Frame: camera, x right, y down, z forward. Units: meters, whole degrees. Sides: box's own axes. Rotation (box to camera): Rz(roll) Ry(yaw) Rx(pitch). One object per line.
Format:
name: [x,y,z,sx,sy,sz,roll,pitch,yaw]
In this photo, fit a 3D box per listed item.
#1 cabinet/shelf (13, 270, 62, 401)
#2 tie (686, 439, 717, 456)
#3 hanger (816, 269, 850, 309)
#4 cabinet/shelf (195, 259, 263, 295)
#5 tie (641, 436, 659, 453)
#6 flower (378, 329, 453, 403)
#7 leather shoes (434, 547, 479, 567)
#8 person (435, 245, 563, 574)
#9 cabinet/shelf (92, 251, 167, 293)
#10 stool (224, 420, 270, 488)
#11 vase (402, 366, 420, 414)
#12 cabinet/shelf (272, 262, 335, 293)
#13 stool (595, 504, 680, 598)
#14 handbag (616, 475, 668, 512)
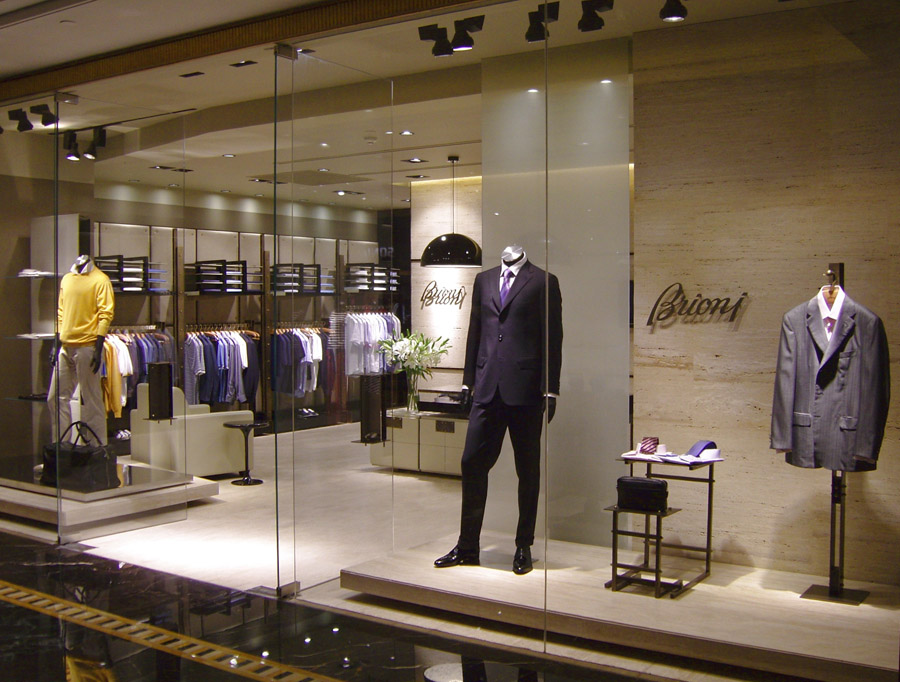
cabinet/shelf: [-3.128,-0.034,6.137,0.447,1.034,0.132,3,2,35]
tie: [1.514,0.640,4.836,0.153,0.076,0.090,-1,2,-21]
hanger: [2.148,-0.301,4.533,0.134,0.246,0.061,2,2,23]
cabinet/shelf: [-2.964,-0.828,10.471,0.731,0.439,0.287,1,2,-19]
tie: [1.175,0.627,4.774,0.096,0.100,0.107,-13,7,31]
flower: [-0.224,0.143,5.110,0.413,0.485,0.490,2,3,40]
leather shoes: [0.035,1.234,4.569,0.277,0.116,0.100,1,-1,25]
person: [0.294,0.394,4.380,0.606,1.807,0.209,3,2,44]
cabinet/shelf: [-2.459,-0.528,6.272,0.326,0.210,0.327,2,3,29]
stool: [-2.012,1.112,7.930,0.552,0.644,0.540,-1,-2,16]
vase: [-0.236,0.310,5.045,0.061,0.279,0.180,2,2,16]
cabinet/shelf: [-0.878,-0.367,4.821,0.360,0.193,0.087,1,2,-11]
stool: [1.045,1.191,4.407,0.509,0.563,0.507,-1,-4,27]
handbag: [1.043,0.853,4.426,0.251,0.172,0.135,2,2,5]
